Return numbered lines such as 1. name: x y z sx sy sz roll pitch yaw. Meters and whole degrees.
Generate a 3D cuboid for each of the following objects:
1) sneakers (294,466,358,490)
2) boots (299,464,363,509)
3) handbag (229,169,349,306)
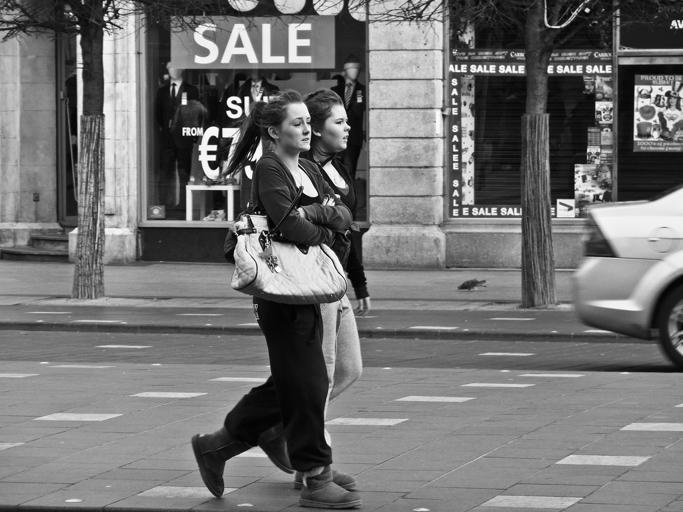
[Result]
1. sneakers: -0.103 1.533 9.919 0.502 0.169 0.154 -1 5 13
2. boots: -0.074 1.586 9.678 0.333 0.123 0.418 -1 0 8
3. handbag: -0.331 -0.128 9.741 0.940 0.793 0.405 15 -19 -29
